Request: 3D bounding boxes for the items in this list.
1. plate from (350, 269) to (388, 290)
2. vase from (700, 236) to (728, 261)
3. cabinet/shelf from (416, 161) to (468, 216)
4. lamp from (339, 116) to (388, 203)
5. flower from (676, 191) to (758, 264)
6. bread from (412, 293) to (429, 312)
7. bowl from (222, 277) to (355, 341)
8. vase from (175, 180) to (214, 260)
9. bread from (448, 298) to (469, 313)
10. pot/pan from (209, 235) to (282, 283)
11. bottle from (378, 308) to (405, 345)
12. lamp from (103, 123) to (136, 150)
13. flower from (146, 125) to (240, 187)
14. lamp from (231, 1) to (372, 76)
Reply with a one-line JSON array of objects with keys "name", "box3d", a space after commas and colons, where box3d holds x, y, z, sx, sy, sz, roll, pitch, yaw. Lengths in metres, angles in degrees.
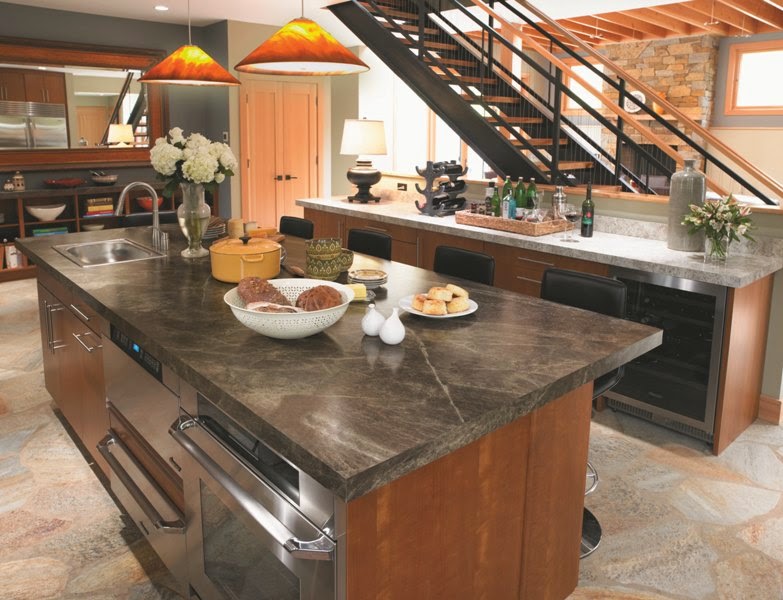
[{"name": "plate", "box3d": [-0.126, -0.102, 2.772, 0.138, 0.036, 0.117, 1, 15, 3]}, {"name": "vase", "box3d": [1.815, -0.302, 3.413, 0.160, 0.135, 0.141, -5, 17, -10]}, {"name": "cabinet/shelf", "box3d": [0.451, -0.961, 5.047, 0.451, 0.434, 0.327, 11, 34, 13]}, {"name": "lamp", "box3d": [-0.261, -1.321, 5.682, 0.551, 0.681, 0.465, 2, 14, 4]}, {"name": "flower", "box3d": [1.840, -0.420, 3.420, 0.316, 0.242, 0.271, -10, 13, 8]}, {"name": "bread", "box3d": [0.108, 0.006, 2.357, 0.072, 0.036, 0.058, 1, 5, -6]}, {"name": "bowl", "box3d": [-0.380, 0.023, 2.229, 0.471, 0.172, 0.464, 1, 14, 0]}, {"name": "vase", "box3d": [-1.094, -0.453, 3.294, 0.159, 0.393, 0.370, -4, 17, -18]}, {"name": "bread", "box3d": [0.264, 0.014, 2.385, 0.071, 0.034, 0.079, -5, 11, -21]}, {"name": "pot/pan", "box3d": [-0.670, -0.186, 2.731, 0.294, 0.119, 0.232, 5, 9, 30]}, {"name": "bottle", "box3d": [0.002, 0.093, 2.119, 0.095, 0.116, 0.120, 2, 16, 2]}, {"name": "lamp", "box3d": [-3.348, -2.027, 7.372, 0.339, 0.259, 0.318, -8, 20, -36]}, {"name": "flower", "box3d": [-1.110, -0.763, 3.182, 0.383, 0.223, 0.432, -8, 19, -42]}, {"name": "lamp", "box3d": [-0.408, -1.170, 2.706, 0.589, 0.274, 0.726, -1, 15, -9]}]
